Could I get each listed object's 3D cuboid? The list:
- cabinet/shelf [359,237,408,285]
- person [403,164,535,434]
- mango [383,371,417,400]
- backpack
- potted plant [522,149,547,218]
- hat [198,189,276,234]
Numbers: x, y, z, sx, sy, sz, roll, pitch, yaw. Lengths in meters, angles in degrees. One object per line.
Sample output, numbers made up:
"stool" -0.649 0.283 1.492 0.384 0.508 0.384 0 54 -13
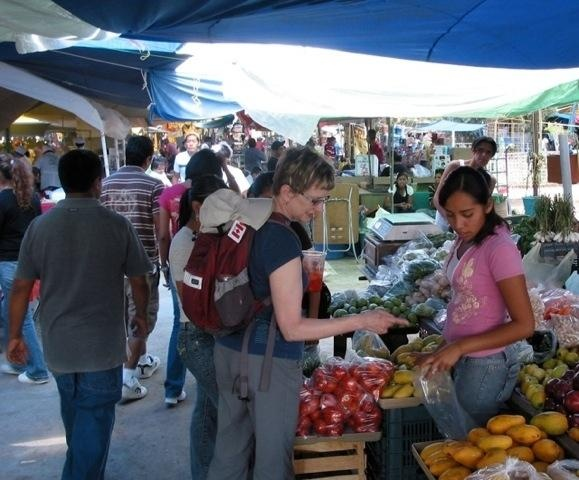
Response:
"cabinet/shelf" 1.204 0.221 5.318 0.408 0.446 0.666 0 5 10
"person" 0.798 0.374 1.953 0.465 1.366 0.456 -1 5 -9
"mango" 0.552 0.725 2.188 0.127 0.069 0.168 -1 24 47
"backpack" -0.278 0.160 1.746 0.346 0.462 0.189 7 14 37
"potted plant" 5.520 -1.329 9.906 0.472 1.412 0.463 -1 6 22
"hat" -0.228 -0.117 1.774 0.245 0.177 0.231 6 9 -18
